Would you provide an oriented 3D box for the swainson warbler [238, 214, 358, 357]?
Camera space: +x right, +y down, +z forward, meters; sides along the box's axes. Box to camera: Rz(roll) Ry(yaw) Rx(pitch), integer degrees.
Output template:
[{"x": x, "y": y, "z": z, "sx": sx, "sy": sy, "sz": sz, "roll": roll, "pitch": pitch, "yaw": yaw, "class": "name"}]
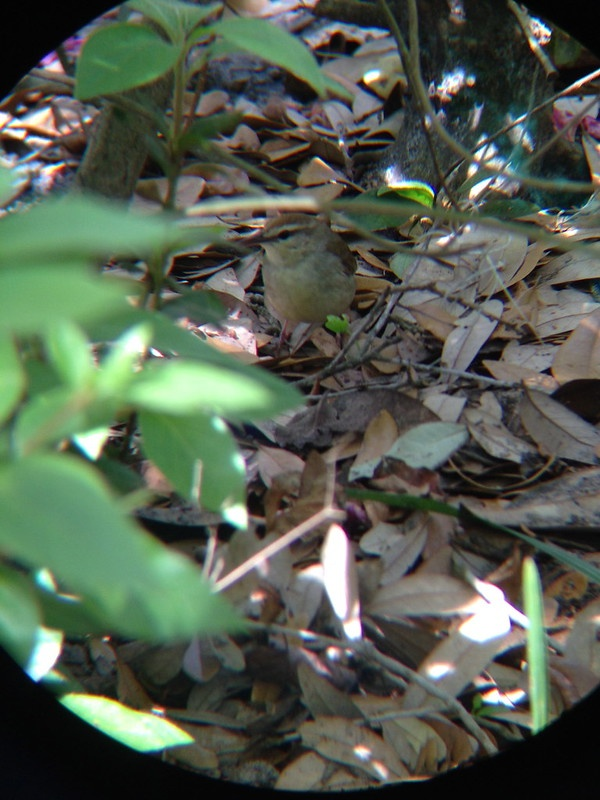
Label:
[{"x": 0.010, "y": -0.163, "z": 1.222, "sx": 0.151, "sy": 0.170, "sz": 0.204, "roll": 2, "pitch": 20, "yaw": 32, "class": "swainson warbler"}]
